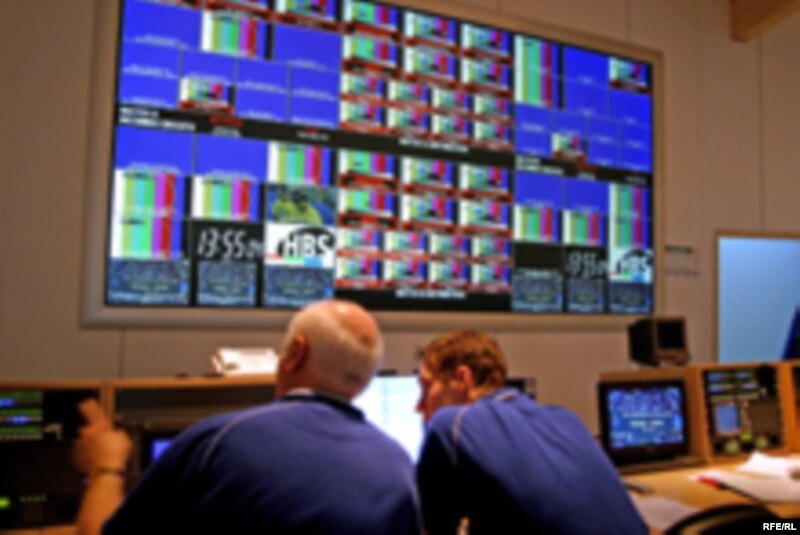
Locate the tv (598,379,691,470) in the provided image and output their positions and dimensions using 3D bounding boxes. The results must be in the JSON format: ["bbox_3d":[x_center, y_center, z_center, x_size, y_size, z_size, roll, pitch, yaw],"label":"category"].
[{"bbox_3d":[1.397,0.906,3.826,0.474,0.410,0.160,2,-7,-23],"label":"tv"}]

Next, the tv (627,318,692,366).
[{"bbox_3d":[1.648,0.458,4.355,0.360,0.379,0.305,0,-3,-16],"label":"tv"}]

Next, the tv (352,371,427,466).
[{"bbox_3d":[-0.052,0.805,3.736,0.517,0.508,0.416,3,-13,-22],"label":"tv"}]
